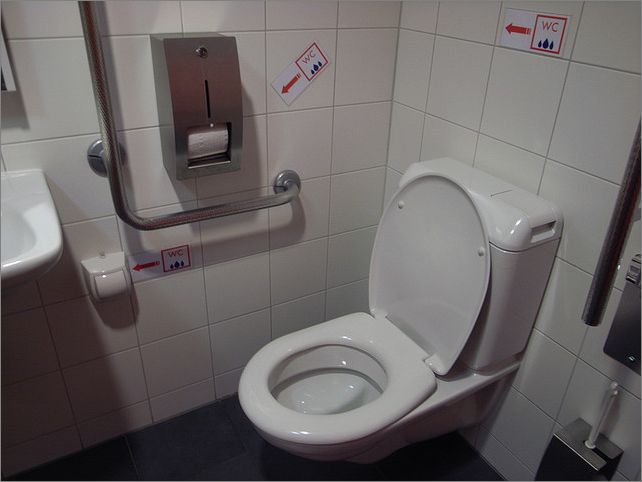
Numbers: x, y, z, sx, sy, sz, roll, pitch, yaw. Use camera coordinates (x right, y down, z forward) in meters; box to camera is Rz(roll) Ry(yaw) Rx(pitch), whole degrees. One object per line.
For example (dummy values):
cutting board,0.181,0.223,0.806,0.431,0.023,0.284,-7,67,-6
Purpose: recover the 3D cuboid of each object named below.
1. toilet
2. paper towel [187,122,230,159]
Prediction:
toilet,0.189,0.295,1.450,0.903,1.006,0.545,-10,26,-27
paper towel,-0.331,-0.298,1.324,0.075,0.072,0.043,-17,50,-21
